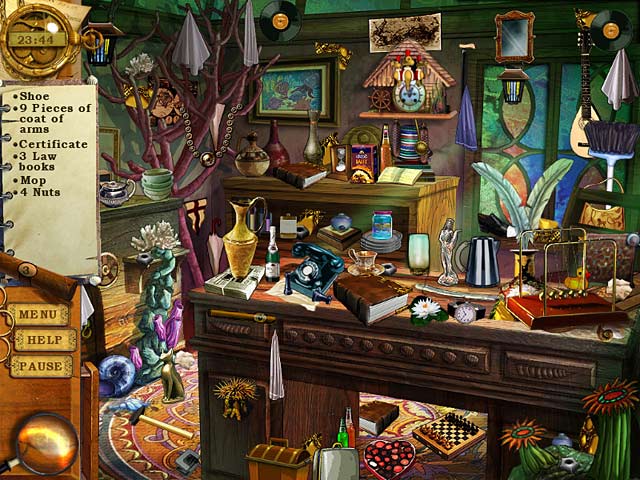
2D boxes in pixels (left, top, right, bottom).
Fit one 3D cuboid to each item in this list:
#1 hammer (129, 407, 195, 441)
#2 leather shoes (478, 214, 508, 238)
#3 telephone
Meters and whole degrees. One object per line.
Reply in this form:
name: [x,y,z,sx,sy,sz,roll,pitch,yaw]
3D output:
hammer: [-1.117,1.299,3.829,0.459,0.123,0.233,16,21,25]
leather shoes: [0.919,-0.083,2.944,0.127,0.066,0.145,10,19,-4]
telephone: [-0.041,0.158,2.834,0.294,0.283,0.153,4,10,32]
